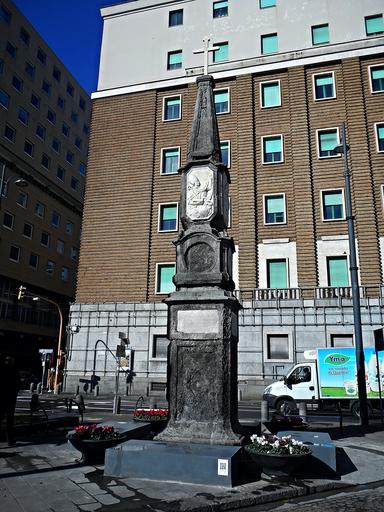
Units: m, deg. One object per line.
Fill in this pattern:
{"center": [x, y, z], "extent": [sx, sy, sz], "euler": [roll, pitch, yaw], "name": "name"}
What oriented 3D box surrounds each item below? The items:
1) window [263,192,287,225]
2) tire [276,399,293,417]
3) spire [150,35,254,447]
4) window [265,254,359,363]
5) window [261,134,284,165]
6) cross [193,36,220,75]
{"center": [5.595, -3.190, 27.998], "extent": [2.130, 3.009, 0.268], "euler": [-4, -24, 17], "name": "window"}
{"center": [3.836, 6.253, 17.259], "extent": [0.607, 0.507, 1.144], "euler": [1, -15, -3], "name": "tire"}
{"center": [0.249, -1.344, 9.039], "extent": [1.437, 9.789, 1.585], "euler": [0, -16, 3], "name": "spire"}
{"center": [7.095, 3.210, 24.378], "extent": [6.468, 5.412, 0.923], "euler": [-4, -15, 14], "name": "window"}
{"center": [5.637, -7.476, 29.137], "extent": [2.206, 3.017, 0.254], "euler": [-3, -21, 15], "name": "window"}
{"center": [0.369, -5.411, 11.285], "extent": [0.713, 0.180, 1.167], "euler": [-12, -28, -5], "name": "cross"}
